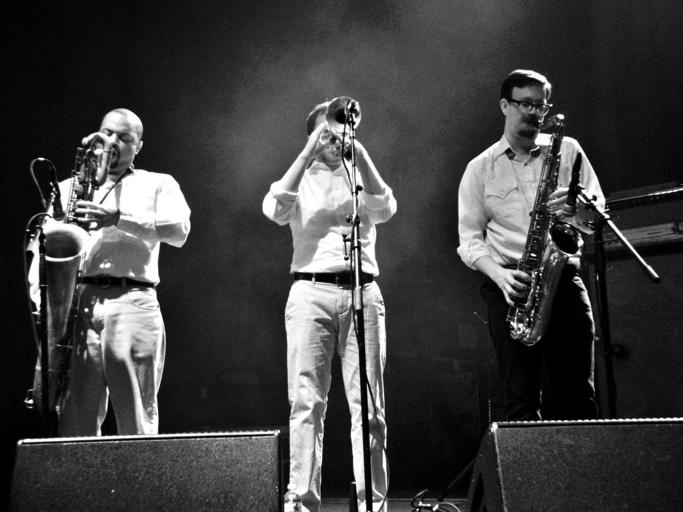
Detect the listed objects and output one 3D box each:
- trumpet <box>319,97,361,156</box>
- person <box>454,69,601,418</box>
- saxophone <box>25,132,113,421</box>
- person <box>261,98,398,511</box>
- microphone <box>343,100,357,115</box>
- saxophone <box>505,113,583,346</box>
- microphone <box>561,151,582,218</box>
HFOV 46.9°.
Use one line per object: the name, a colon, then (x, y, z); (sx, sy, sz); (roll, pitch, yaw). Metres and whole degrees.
trumpet: (0.006, -0.667, 4.046); (0.230, 0.341, 0.224); (2, 1, -8)
person: (1.064, 0.151, 4.268); (0.845, 2.286, 0.653); (-5, -5, 13)
saxophone: (-1.438, 0.091, 4.187); (0.434, 1.484, 0.505); (4, -12, -26)
person: (-0.073, 0.279, 4.548); (0.783, 2.214, 0.792); (0, -1, -5)
microphone: (0.046, -0.730, 3.957); (0.051, 0.074, 0.067); (1, 1, -11)
saxophone: (1.134, -0.082, 4.239); (0.263, 1.210, 0.368); (-10, 23, -35)
microphone: (1.130, -0.365, 3.833); (0.089, 0.294, 0.185); (-4, -11, 17)
